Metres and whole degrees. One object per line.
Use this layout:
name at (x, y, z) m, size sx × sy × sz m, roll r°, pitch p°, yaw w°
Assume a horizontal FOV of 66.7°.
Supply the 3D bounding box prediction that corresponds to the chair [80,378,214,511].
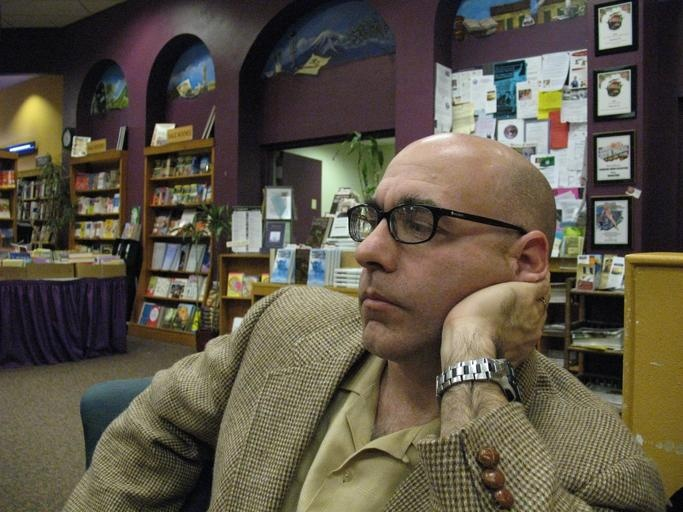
chair at (-0.664, 0.568, 1.738) m, size 0.328 × 0.482 × 0.406 m, roll 2°, pitch -5°, yaw -2°
